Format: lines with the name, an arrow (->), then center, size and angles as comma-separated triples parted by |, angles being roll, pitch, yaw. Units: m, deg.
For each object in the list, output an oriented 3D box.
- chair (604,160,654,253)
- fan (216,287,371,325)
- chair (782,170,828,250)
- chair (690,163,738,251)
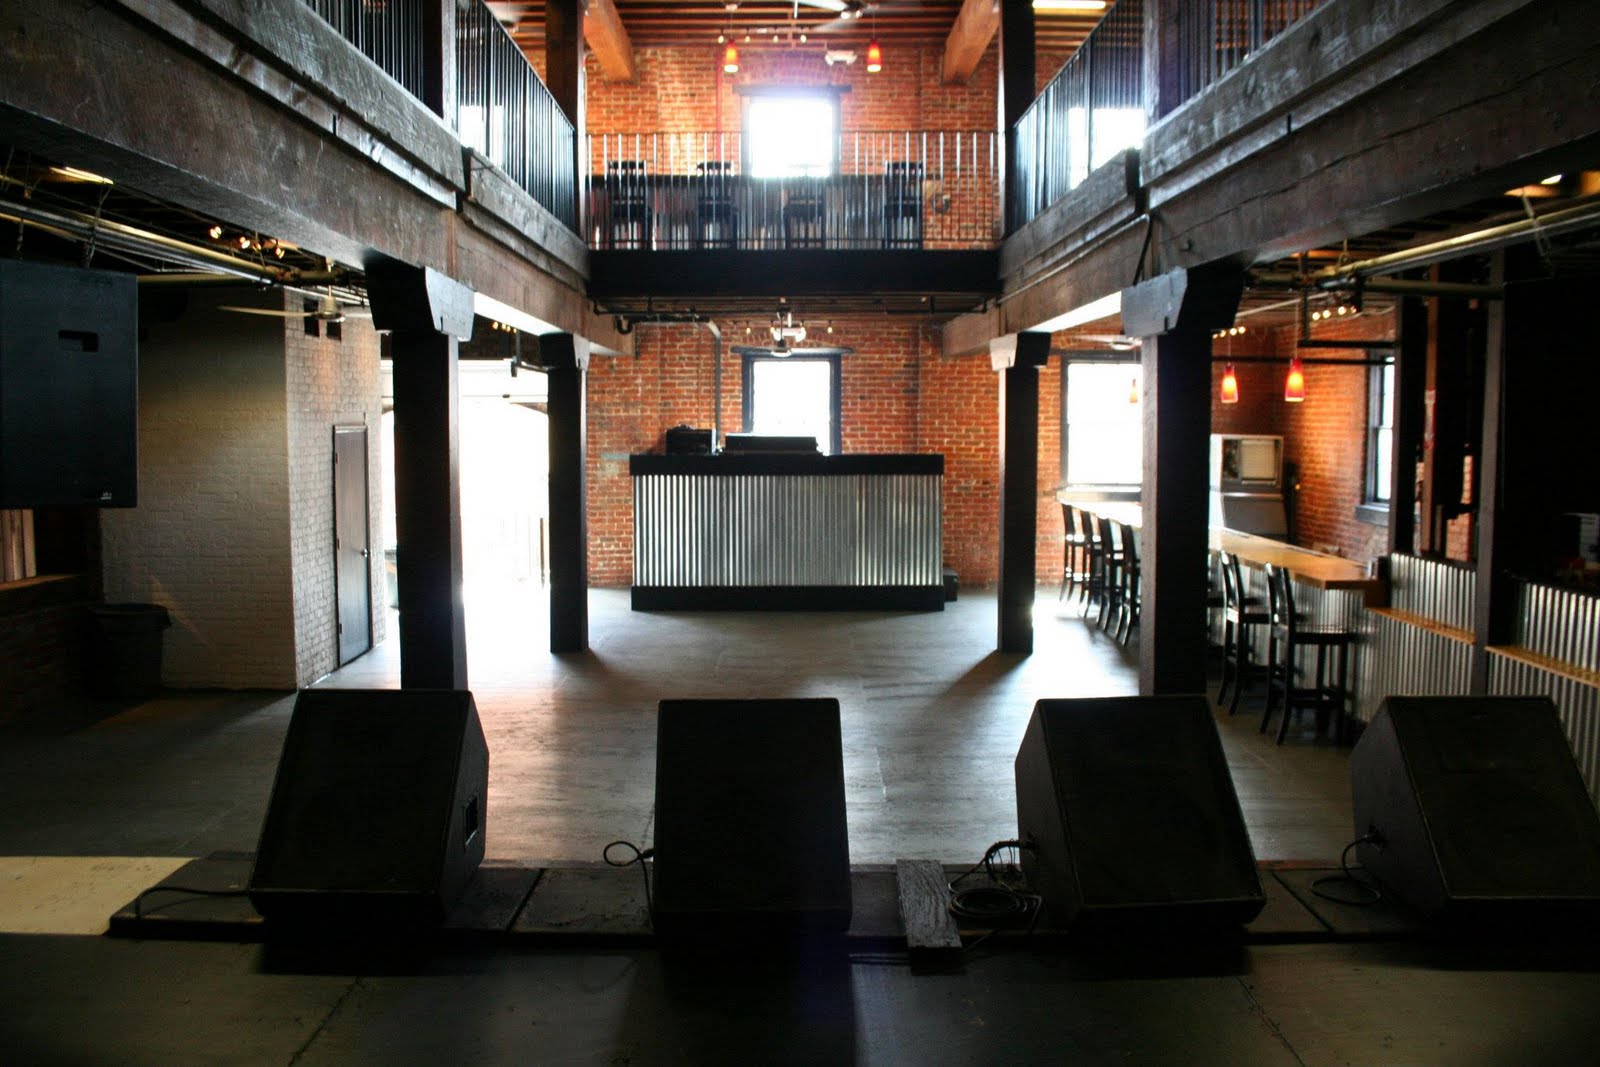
chair -> -1.558, -2.963, 11.240 | 0.442, 0.778, 0.383 | 5, 18, -4
fan -> -3.871, -1.725, 9.583 | 1.050, 0.252, 2.064 | 0, 5, -20
chair -> 0.052, -2.798, 10.886 | 0.373, 0.621, 0.227 | 1, 4, -2
chair -> -0.795, -2.964, 11.146 | 0.369, 0.748, 0.398 | -7, 34, -13
